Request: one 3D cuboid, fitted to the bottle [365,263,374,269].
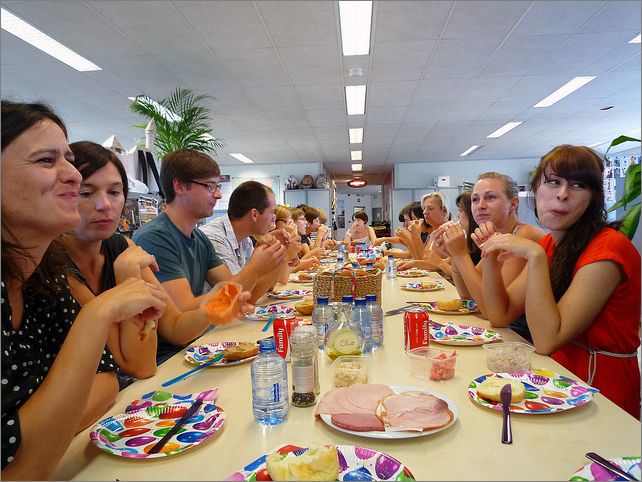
[{"bbox_3d":[0.387,0.194,3.192,0.063,0.070,0.063,0,-6,2],"label":"bottle"}]

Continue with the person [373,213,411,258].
[{"bbox_3d":[1.443,-0.139,8.183,1.227,0.476,1.192,-1,18,5],"label":"person"}]

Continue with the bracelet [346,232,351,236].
[{"bbox_3d":[0.586,-0.155,8.319,0.105,0.073,0.391,-3,6,5],"label":"bracelet"}]

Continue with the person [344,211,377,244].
[{"bbox_3d":[0.808,-0.252,8.325,0.751,0.886,0.697,0,6,10],"label":"person"}]

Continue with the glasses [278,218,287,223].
[{"bbox_3d":[-0.403,-0.219,4.227,0.051,0.052,0.016,3,-4,1],"label":"glasses"}]

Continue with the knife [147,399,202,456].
[{"bbox_3d":[-0.391,0.515,1.106,0.029,0.018,0.242,12,21,11],"label":"knife"}]
